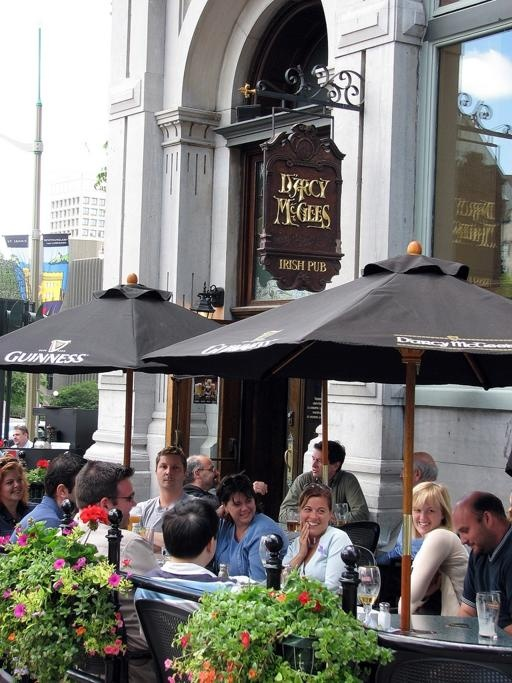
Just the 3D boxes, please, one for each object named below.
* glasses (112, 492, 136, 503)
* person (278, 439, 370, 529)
[{"bbox_3d":[-0.713,0.857,5.691,0.107,0.032,0.103,-2,-3,11],"label":"glasses"},{"bbox_3d":[0.580,1.237,8.978,0.849,0.735,0.491,-2,7,26],"label":"person"}]
